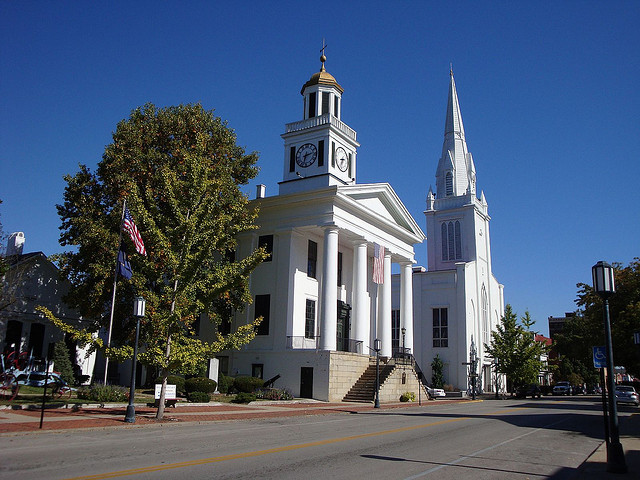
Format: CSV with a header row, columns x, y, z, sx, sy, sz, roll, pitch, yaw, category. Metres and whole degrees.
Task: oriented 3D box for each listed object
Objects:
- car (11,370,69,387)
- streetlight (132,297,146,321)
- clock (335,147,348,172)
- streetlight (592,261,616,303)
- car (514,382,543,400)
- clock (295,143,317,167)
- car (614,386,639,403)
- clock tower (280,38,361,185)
x,y,z,sx,sy,sz,roll,pitch,yaw,category
-13.041,6.427,25.298,2.108,0.726,3.206,8,-18,-27,car
-7.624,2.910,22.999,0.394,1.006,1.100,4,-16,-16,streetlight
1.761,-6.680,45.155,0.201,1.903,2.098,-8,-17,26,clock
8.113,1.172,15.646,0.588,1.075,0.618,3,-6,-28,streetlight
21.949,15.925,57.883,1.648,1.599,4.566,-13,-20,37,car
-1.100,-6.888,44.568,2.005,2.119,0.142,3,-14,42,clock
25.170,12.730,45.063,1.485,1.287,3.680,-8,-18,25,car
-0.062,-10.556,45.267,5.634,12.016,3.248,0,-15,-1,clock tower
